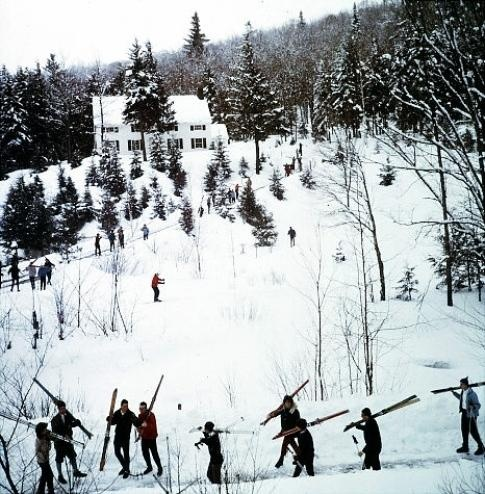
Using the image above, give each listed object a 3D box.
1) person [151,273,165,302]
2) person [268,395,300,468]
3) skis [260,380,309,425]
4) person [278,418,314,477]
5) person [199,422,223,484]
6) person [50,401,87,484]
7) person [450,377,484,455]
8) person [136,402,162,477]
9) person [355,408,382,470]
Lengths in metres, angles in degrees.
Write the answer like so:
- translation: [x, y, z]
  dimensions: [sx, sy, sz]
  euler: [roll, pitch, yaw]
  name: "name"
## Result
- translation: [-4.109, 2.003, 30.122]
  dimensions: [0.717, 1.854, 0.677]
  euler: [-5, 15, -12]
  name: "person"
- translation: [1.214, 5.024, 16.943]
  dimensions: [0.835, 2.073, 0.643]
  euler: [0, 11, -7]
  name: "person"
- translation: [1.287, 4.842, 19.312]
  dimensions: [0.282, 1.741, 0.224]
  euler: [35, -15, 17]
  name: "skis"
- translation: [1.486, 5.361, 16.285]
  dimensions: [0.799, 1.996, 0.636]
  euler: [5, 22, 19]
  name: "person"
- translation: [-0.772, 5.282, 15.739]
  dimensions: [0.519, 1.535, 0.761]
  euler: [-5, 1, -4]
  name: "person"
- translation: [-4.762, 5.070, 16.525]
  dimensions: [0.595, 2.223, 0.617]
  euler: [-5, 13, -11]
  name: "person"
- translation: [6.158, 4.575, 17.005]
  dimensions: [0.766, 1.586, 0.749]
  euler: [-4, 2, 29]
  name: "person"
- translation: [-2.504, 5.125, 16.634]
  dimensions: [0.587, 1.926, 0.480]
  euler: [-4, 1, 1]
  name: "person"
- translation: [3.338, 5.093, 16.219]
  dimensions: [0.466, 1.873, 0.490]
  euler: [-13, 10, -43]
  name: "person"
